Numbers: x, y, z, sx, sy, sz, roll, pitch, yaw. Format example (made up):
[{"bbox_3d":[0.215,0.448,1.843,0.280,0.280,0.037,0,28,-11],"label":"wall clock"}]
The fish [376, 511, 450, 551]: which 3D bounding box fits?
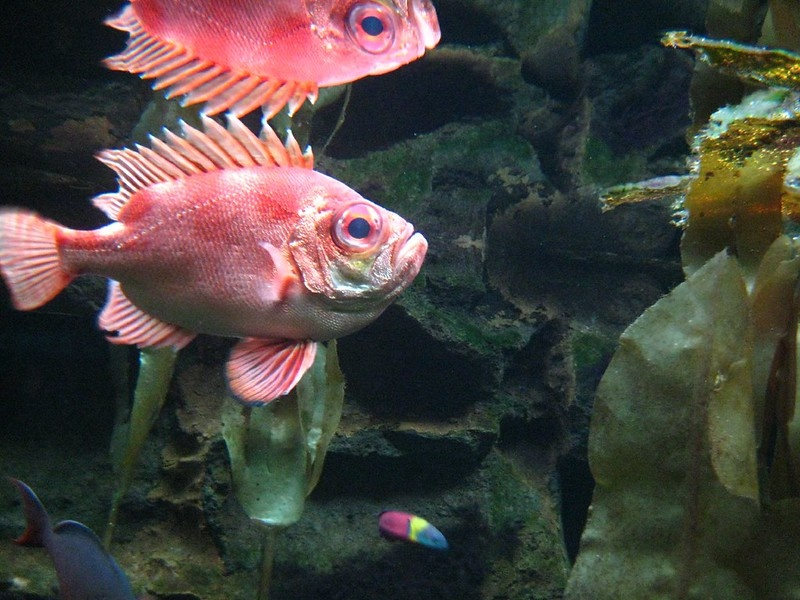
[{"bbox_3d":[0.049,0.854,4.310,0.241,0.079,0.126,17,18,27],"label":"fish"}]
